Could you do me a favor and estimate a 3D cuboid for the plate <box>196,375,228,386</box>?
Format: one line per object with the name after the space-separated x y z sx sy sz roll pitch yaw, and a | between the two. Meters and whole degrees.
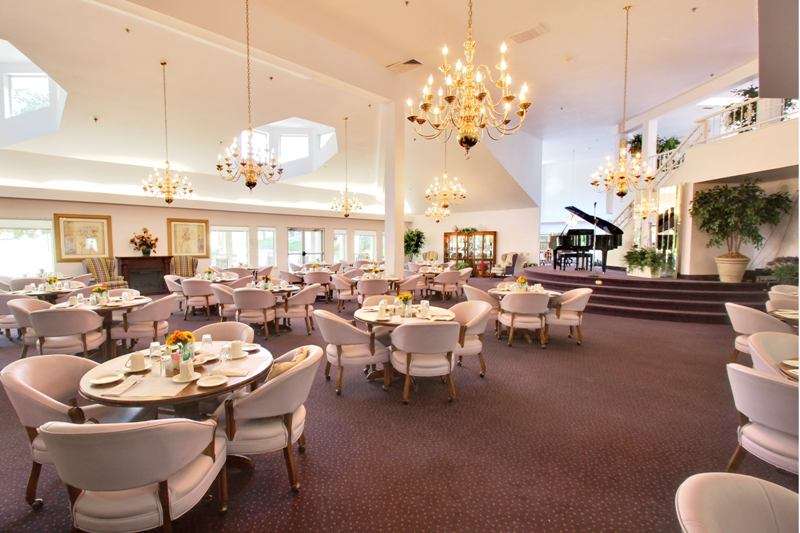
-2.320 1.408 6.529 0.363 0.110 0.177 -2 3 1 | plate

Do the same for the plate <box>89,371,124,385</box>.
-3.650 1.392 6.571 0.372 0.124 0.232 -3 3 -30 | plate

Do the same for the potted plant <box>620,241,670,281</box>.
6.290 -0.137 13.511 0.762 0.743 1.023 1 6 20 | potted plant

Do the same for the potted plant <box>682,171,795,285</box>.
7.913 -0.862 12.396 1.982 2.375 1.502 0 4 26 | potted plant

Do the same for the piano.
5.392 -0.721 15.432 2.303 2.141 1.678 0 4 12 | piano

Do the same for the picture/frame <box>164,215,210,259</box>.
-6.396 -0.915 15.710 1.134 1.299 0.087 -14 11 -40 | picture/frame

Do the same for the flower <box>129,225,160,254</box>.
-7.150 -0.657 14.890 0.744 0.778 0.676 -14 25 -6 | flower

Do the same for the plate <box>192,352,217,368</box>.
-2.542 1.220 6.896 0.185 0.048 0.186 5 15 7 | plate

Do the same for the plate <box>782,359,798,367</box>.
5.110 1.255 6.880 0.376 0.098 0.038 22 -25 -37 | plate

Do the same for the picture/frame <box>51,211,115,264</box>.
-8.417 -0.783 13.880 0.093 1.409 1.323 5 7 41 | picture/frame
